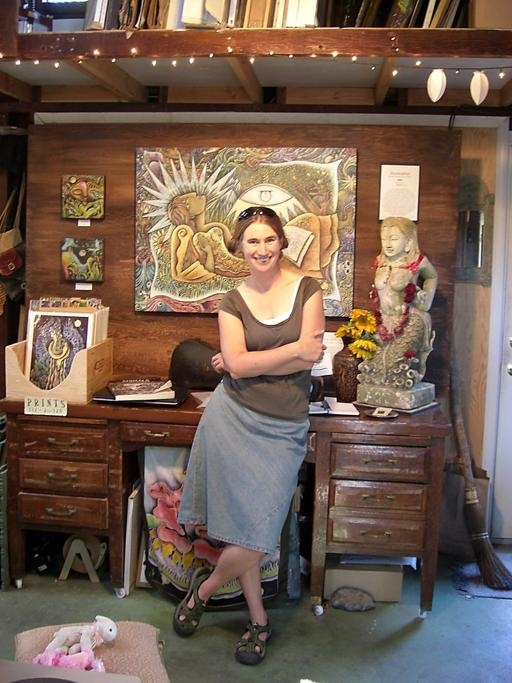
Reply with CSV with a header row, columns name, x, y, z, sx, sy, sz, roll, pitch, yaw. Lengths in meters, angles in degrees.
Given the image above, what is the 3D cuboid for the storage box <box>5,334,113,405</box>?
name,x,y,z,sx,sy,sz,roll,pitch,yaw
storage box,-0.864,0.092,2.655,0.370,0.196,0.334,3,6,11

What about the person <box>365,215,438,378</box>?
name,x,y,z,sx,sy,sz,roll,pitch,yaw
person,0.660,-0.184,2.549,0.302,0.729,0.215,1,3,-2

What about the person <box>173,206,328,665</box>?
name,x,y,z,sx,sy,sz,roll,pitch,yaw
person,-0.038,0.337,2.061,0.530,1.642,0.298,1,3,1

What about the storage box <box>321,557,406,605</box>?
name,x,y,z,sx,sy,sz,roll,pitch,yaw
storage box,0.473,1.042,2.579,0.353,0.163,0.159,1,-5,1

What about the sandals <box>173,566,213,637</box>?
name,x,y,z,sx,sy,sz,roll,pitch,yaw
sandals,-0.257,1.037,2.271,0.110,0.278,0.116,28,-5,-29
